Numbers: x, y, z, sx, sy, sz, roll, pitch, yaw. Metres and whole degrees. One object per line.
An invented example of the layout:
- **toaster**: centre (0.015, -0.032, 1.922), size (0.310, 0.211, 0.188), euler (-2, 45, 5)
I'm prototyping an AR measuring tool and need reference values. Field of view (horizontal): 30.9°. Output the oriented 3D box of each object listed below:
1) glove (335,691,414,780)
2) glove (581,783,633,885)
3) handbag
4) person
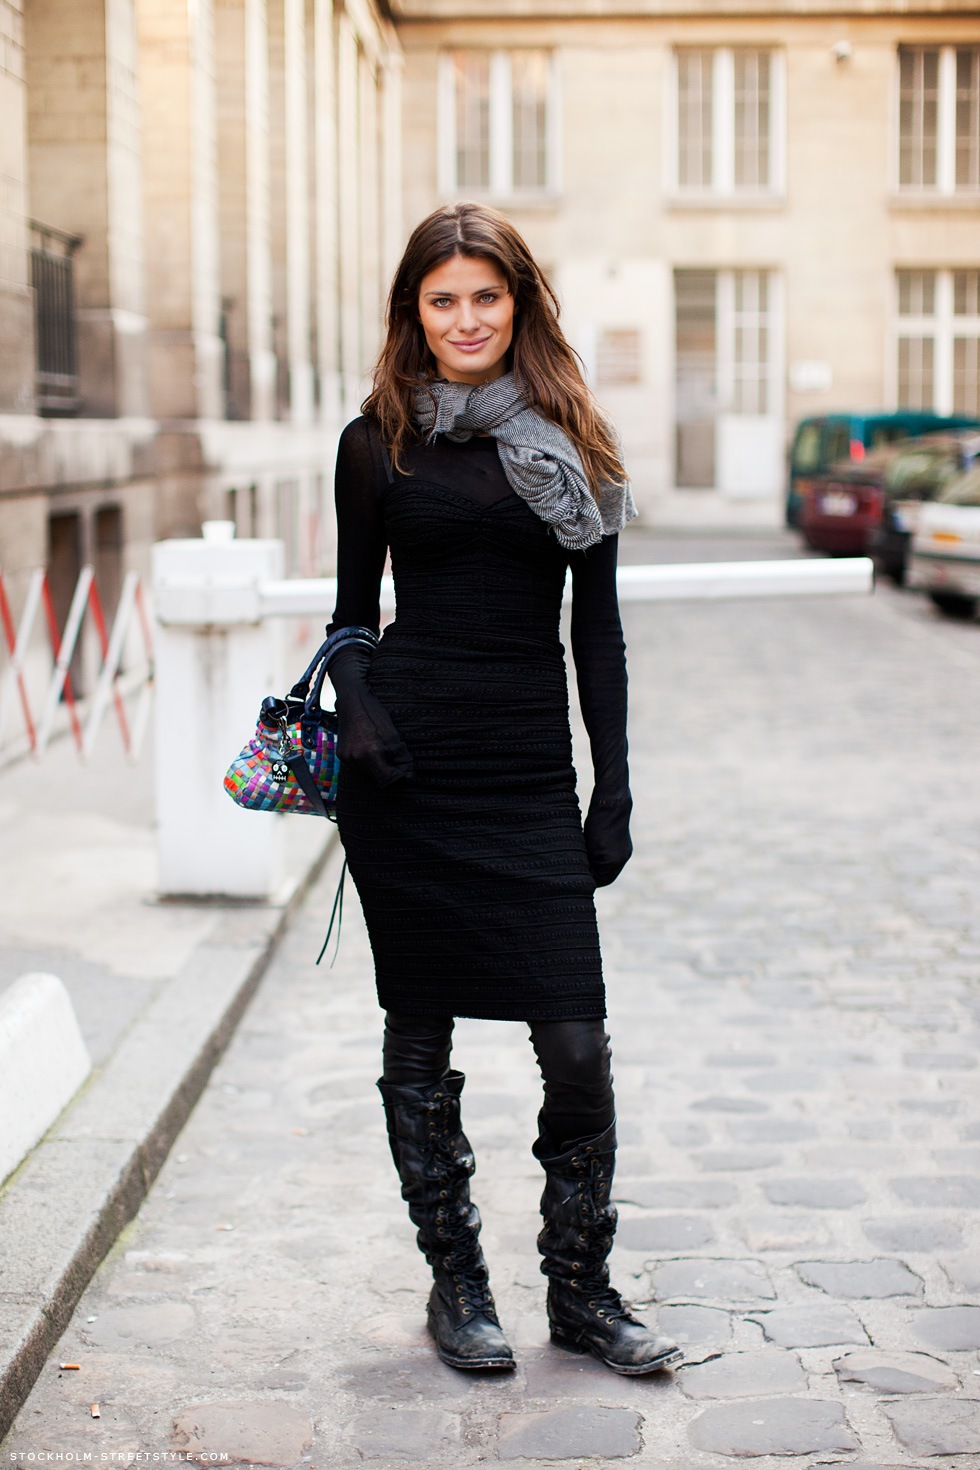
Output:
- **glove**: centre (-0.167, 0.005, 2.465), size (0.048, 0.111, 0.082), euler (-47, 22, -7)
- **glove**: centre (0.186, 0.146, 2.619), size (0.055, 0.187, 0.073), euler (-27, -51, 33)
- **handbag**: centre (-0.267, -0.019, 2.708), size (0.213, 0.268, 0.137), euler (7, 16, -39)
- **person**: centre (0.015, 0.096, 2.622), size (0.486, 1.707, 0.330), euler (-1, 6, -6)
